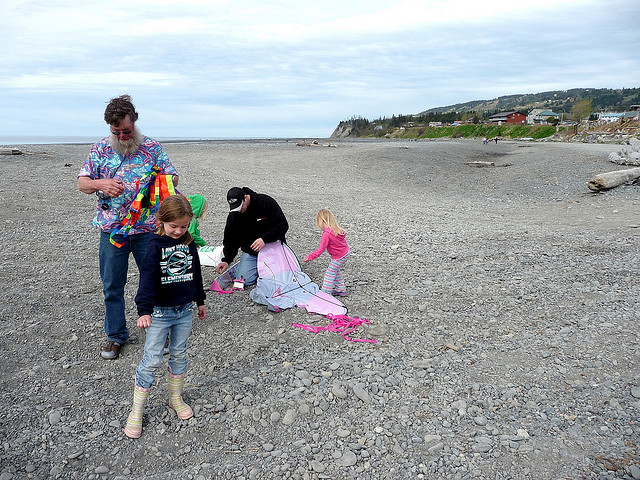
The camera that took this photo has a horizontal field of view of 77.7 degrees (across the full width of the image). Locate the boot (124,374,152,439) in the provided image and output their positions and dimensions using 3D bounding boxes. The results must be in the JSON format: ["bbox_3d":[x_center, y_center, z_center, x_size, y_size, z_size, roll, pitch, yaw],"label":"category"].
[{"bbox_3d":[-2.126,1.950,4.606,0.311,0.624,0.299,0,18,1],"label":"boot"}]

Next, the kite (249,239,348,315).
[{"bbox_3d":[-0.483,0.728,7.359,1.512,0.760,2.003,-10,27,-35],"label":"kite"}]

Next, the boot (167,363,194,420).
[{"bbox_3d":[-1.697,1.844,4.819,0.210,0.627,0.315,-13,22,-33],"label":"boot"}]

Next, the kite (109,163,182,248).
[{"bbox_3d":[-2.517,-0.365,5.769,0.956,0.541,1.212,13,56,-21],"label":"kite"}]

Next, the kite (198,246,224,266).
[{"bbox_3d":[-2.432,0.330,8.926,0.560,0.241,0.531,3,18,1],"label":"kite"}]

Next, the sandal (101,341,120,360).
[{"bbox_3d":[-3.040,1.612,5.802,0.230,0.204,0.204,1,17,5],"label":"sandal"}]

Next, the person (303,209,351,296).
[{"bbox_3d":[0.219,0.262,7.368,0.701,1.578,0.663,6,20,19],"label":"person"}]
